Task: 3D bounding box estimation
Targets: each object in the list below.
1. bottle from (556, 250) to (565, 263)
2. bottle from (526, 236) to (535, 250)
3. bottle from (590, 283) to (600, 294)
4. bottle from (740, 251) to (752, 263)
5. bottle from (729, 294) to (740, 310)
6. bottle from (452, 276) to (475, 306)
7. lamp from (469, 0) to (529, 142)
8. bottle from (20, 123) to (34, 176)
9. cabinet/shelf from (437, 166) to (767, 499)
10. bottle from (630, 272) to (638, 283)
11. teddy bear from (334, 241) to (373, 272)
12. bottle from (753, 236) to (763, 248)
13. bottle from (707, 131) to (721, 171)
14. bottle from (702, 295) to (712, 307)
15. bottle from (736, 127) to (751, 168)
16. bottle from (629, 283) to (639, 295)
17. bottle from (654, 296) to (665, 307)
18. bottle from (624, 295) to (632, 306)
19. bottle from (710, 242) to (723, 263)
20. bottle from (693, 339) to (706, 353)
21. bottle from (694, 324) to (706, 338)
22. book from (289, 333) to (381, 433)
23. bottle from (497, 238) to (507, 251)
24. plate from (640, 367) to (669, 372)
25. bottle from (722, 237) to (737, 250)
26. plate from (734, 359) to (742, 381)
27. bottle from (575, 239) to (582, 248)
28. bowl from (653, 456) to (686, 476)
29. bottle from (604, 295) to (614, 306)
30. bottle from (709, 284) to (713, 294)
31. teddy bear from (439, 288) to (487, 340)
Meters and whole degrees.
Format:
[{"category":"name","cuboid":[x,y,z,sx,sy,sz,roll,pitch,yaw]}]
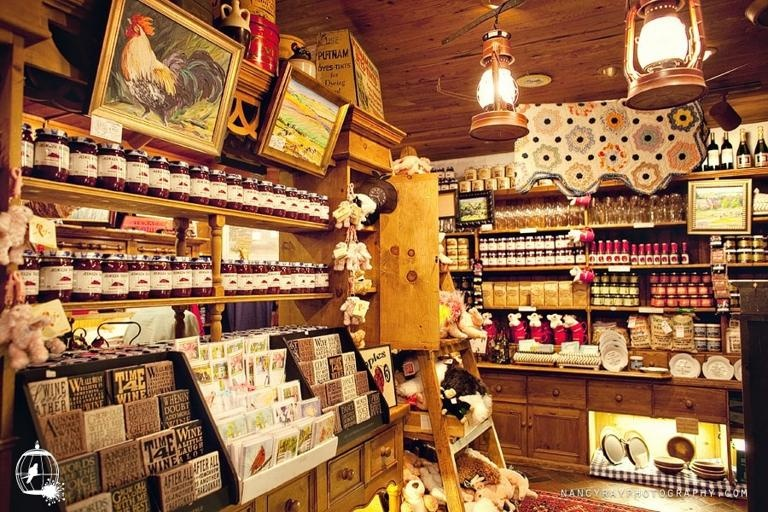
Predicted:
[{"category":"bottle","cuboid":[2.008,0.007,6.018,0.131,0.137,0.128,0,-2,-2]},{"category":"bottle","cuboid":[1.711,-0.140,6.175,0.128,0.140,0.126,-1,1,-25]},{"category":"bottle","cuboid":[2.356,0.373,5.857,0.104,0.111,0.101,-1,2,-30]},{"category":"bottle","cuboid":[3.666,0.018,5.314,0.101,0.092,0.099,-1,0,-14]},{"category":"bottle","cuboid":[3.536,0.462,5.289,0.090,0.159,0.039,-1,-3,-13]},{"category":"bottle","cuboid":[0.960,0.439,6.557,0.125,0.397,0.290,7,-7,-26]},{"category":"lamp","cuboid":[0.801,-1.383,3.756,0.380,1.129,0.726,-2,-3,13]},{"category":"bottle","cuboid":[-1.593,-0.479,2.335,0.047,0.245,0.093,0,-3,-34]},{"category":"cabinet/shelf","cuboid":[2.308,0.827,5.295,3.208,2.886,0.870,-3,-9,21]},{"category":"bottle","cuboid":[2.778,0.246,5.805,0.086,0.158,0.122,1,-2,37]},{"category":"teddy bear","cuboid":[-0.215,0.018,3.640,0.201,0.207,0.297,-3,-4,27]},{"category":"bottle","cuboid":[3.785,-0.138,5.296,0.116,0.123,0.116,-2,-3,23]},{"category":"bottle","cuboid":[3.494,-1.119,5.573,0.119,0.440,0.189,-3,-3,33]},{"category":"bottle","cuboid":[3.343,0.480,5.439,0.131,0.126,0.097,1,1,24]},{"category":"bottle","cuboid":[3.725,-1.101,5.432,0.137,0.432,0.234,-3,-3,34]},{"category":"bottle","cuboid":[2.718,0.364,5.716,0.118,0.110,0.061,1,-12,3]},{"category":"bottle","cuboid":[2.931,0.499,5.598,0.150,0.127,0.082,0,1,28]},{"category":"bottle","cuboid":[2.649,0.496,5.704,0.089,0.094,0.088,-1,-4,9]},{"category":"bottle","cuboid":[3.441,-0.021,5.407,0.122,0.220,0.086,-3,-3,32]},{"category":"bottle","cuboid":[3.283,0.931,5.442,0.137,0.130,0.134,0,1,-37]},{"category":"bottle","cuboid":[3.291,0.792,5.453,0.120,0.126,0.117,0,-1,-18]},{"category":"book","cuboid":[-0.285,0.751,3.229,0.513,0.582,0.760,-9,-8,23]},{"category":"bottle","cuboid":[1.406,-0.131,6.289,0.127,0.194,0.132,0,-6,0]},{"category":"plate","cuboid":[2.822,1.195,5.480,0.262,0.034,0.174,-3,-3,22]},{"category":"bottle","cuboid":[3.568,-0.120,5.399,0.126,0.140,0.127,-2,-5,24]},{"category":"plate","cuboid":[3.483,1.132,5.177,0.050,0.200,0.076,-3,-3,26]},{"category":"bottle","cuboid":[2.181,-0.142,5.921,0.100,0.075,0.103,1,-3,0]},{"category":"bowl","cuboid":[2.849,2.079,5.190,0.317,0.129,0.171,-1,-3,-7]},{"category":"bottle","cuboid":[2.478,0.504,5.785,0.091,0.091,0.089,-1,1,-10]},{"category":"bottle","cuboid":[3.402,0.355,5.450,0.033,0.079,0.040,-3,-3,29]},{"category":"teddy bear","cuboid":[0.653,0.543,4.637,0.486,0.437,0.254,8,-11,-22]}]
